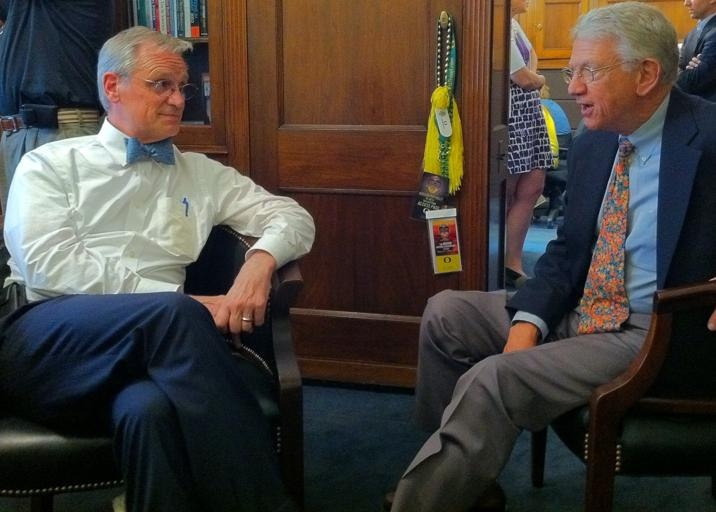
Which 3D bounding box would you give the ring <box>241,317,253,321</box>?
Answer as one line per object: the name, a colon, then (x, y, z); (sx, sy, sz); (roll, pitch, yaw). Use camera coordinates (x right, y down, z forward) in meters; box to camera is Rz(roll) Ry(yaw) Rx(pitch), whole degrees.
ring: (-0.338, 0.191, 1.713); (0.004, 0.008, 0.023); (9, -12, 39)
